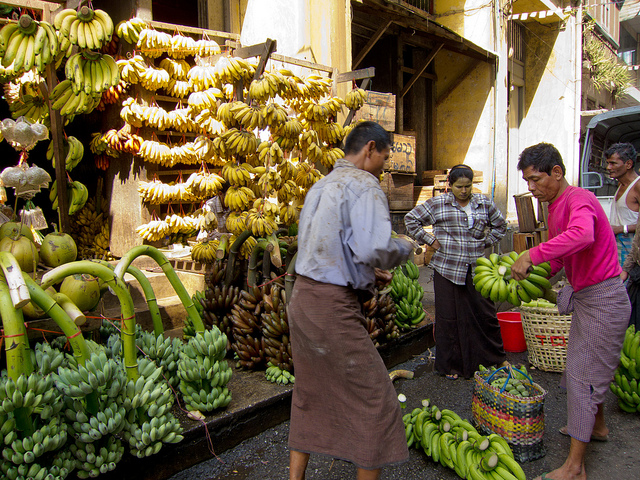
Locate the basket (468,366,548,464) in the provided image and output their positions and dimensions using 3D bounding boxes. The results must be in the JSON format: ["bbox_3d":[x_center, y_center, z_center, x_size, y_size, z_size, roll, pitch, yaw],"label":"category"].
[{"bbox_3d":[1.547,1.403,3.920,0.362,0.668,0.656,-1,8,-35],"label":"basket"}]

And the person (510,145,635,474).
[{"bbox_3d":[1.947,0.505,3.528,0.804,2.462,0.599,6,9,34],"label":"person"}]

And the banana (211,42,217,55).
[{"bbox_3d":[-1.338,-2.442,5.738,0.068,0.124,0.035,-2,8,-21],"label":"banana"}]

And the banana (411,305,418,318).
[{"bbox_3d":[1.182,0.901,5.652,0.096,0.152,0.042,-5,10,-39],"label":"banana"}]

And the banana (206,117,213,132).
[{"bbox_3d":[-1.173,-1.233,4.816,0.070,0.140,0.030,12,2,40],"label":"banana"}]

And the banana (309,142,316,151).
[{"bbox_3d":[-0.084,-1.081,5.222,0.049,0.101,0.031,43,-23,-26],"label":"banana"}]

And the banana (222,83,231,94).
[{"bbox_3d":[-1.071,-1.718,5.134,0.064,0.117,0.111,5,9,31],"label":"banana"}]

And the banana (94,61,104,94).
[{"bbox_3d":[-2.140,-1.569,4.384,0.053,0.321,0.101,-3,-17,-1],"label":"banana"}]

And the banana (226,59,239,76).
[{"bbox_3d":[-0.909,-1.775,4.675,0.064,0.214,0.052,-30,13,-20],"label":"banana"}]

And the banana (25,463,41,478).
[{"bbox_3d":[-1.822,1.471,2.906,0.064,0.032,0.106,-35,21,46],"label":"banana"}]

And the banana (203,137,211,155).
[{"bbox_3d":[-1.166,-0.972,4.674,0.039,0.156,0.089,4,6,-36],"label":"banana"}]

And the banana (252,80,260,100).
[{"bbox_3d":[-0.643,-1.510,4.548,0.059,0.173,0.082,1,8,3],"label":"banana"}]

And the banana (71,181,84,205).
[{"bbox_3d":[-2.529,-0.495,4.740,0.111,0.229,0.190,-4,9,-31],"label":"banana"}]

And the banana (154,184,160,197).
[{"bbox_3d":[-2.026,-0.618,5.672,0.032,0.207,0.048,21,-5,-23],"label":"banana"}]

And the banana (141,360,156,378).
[{"bbox_3d":[-1.324,0.989,3.493,0.037,0.048,0.140,20,30,-1],"label":"banana"}]

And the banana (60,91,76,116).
[{"bbox_3d":[-2.485,-1.355,4.461,0.033,0.220,0.052,23,-7,11],"label":"banana"}]

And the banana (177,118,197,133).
[{"bbox_3d":[-1.693,-1.450,5.805,0.198,0.066,0.219,-28,-33,-10],"label":"banana"}]

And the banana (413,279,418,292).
[{"bbox_3d":[1.235,0.556,5.885,0.037,0.133,0.033,-8,-24,42],"label":"banana"}]

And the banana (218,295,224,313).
[{"bbox_3d":[-1.048,0.668,4.809,0.046,0.234,0.051,9,31,9],"label":"banana"}]

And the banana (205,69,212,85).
[{"bbox_3d":[-1.170,-1.723,4.754,0.034,0.163,0.035,-12,11,1],"label":"banana"}]

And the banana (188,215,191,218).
[{"bbox_3d":[-1.753,-0.321,6.097,0.022,0.026,0.024,-3,-10,-6],"label":"banana"}]

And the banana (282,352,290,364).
[{"bbox_3d":[-0.322,1.128,4.358,0.035,0.138,0.036,-16,6,16],"label":"banana"}]

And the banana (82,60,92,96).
[{"bbox_3d":[-2.243,-1.561,4.361,0.051,0.356,0.111,-8,-11,13],"label":"banana"}]

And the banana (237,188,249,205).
[{"bbox_3d":[-0.775,-0.440,4.630,0.049,0.219,0.068,-14,-10,37],"label":"banana"}]

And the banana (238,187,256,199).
[{"bbox_3d":[-0.763,-0.490,4.689,0.061,0.035,0.174,-38,-47,17],"label":"banana"}]

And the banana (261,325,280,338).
[{"bbox_3d":[-0.483,0.899,4.462,0.032,0.151,0.054,-21,25,54],"label":"banana"}]

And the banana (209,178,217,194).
[{"bbox_3d":[-1.143,-0.573,4.891,0.041,0.219,0.053,1,2,39],"label":"banana"}]

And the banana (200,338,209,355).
[{"bbox_3d":[-0.975,0.905,3.810,0.077,0.125,0.033,3,8,17],"label":"banana"}]

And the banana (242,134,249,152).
[{"bbox_3d":[-0.741,-0.972,4.534,0.038,0.169,0.053,11,-9,-28],"label":"banana"}]

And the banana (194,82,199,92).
[{"bbox_3d":[-1.332,-1.656,4.902,0.046,0.076,0.100,-2,8,-18],"label":"banana"}]

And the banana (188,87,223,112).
[{"bbox_3d":[-1.230,-1.500,4.795,0.206,0.297,0.125,13,-26,24],"label":"banana"}]

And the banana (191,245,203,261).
[{"bbox_3d":[-1.357,0.142,5.039,0.038,0.141,0.094,22,-6,-38],"label":"banana"}]

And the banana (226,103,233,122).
[{"bbox_3d":[-0.914,-1.294,4.555,0.040,0.147,0.102,0,-6,-17],"label":"banana"}]

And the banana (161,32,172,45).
[{"bbox_3d":[-1.856,-2.456,5.505,0.088,0.130,0.082,1,8,4],"label":"banana"}]

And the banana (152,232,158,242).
[{"bbox_3d":[-2.115,-0.055,5.810,0.022,0.096,0.033,34,-9,-37],"label":"banana"}]

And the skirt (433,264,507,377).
[{"bbox_3d":[1.613,0.737,4.998,0.722,2.037,0.475,-7,38,12],"label":"skirt"}]

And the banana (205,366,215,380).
[{"bbox_3d":[-0.902,1.095,3.744,0.025,0.086,0.052,-8,-31,44],"label":"banana"}]

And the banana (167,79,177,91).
[{"bbox_3d":[-1.895,-2.010,5.843,0.098,0.132,0.232,-6,11,-42],"label":"banana"}]

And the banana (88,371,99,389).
[{"bbox_3d":[-1.496,0.920,2.992,0.033,0.032,0.107,-12,-32,-11],"label":"banana"}]

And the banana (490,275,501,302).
[{"bbox_3d":[1.547,0.424,3.988,0.073,0.223,0.053,20,-18,-17],"label":"banana"}]

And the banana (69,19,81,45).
[{"bbox_3d":[-2.282,-1.942,4.241,0.079,0.270,0.060,22,-18,-37],"label":"banana"}]
